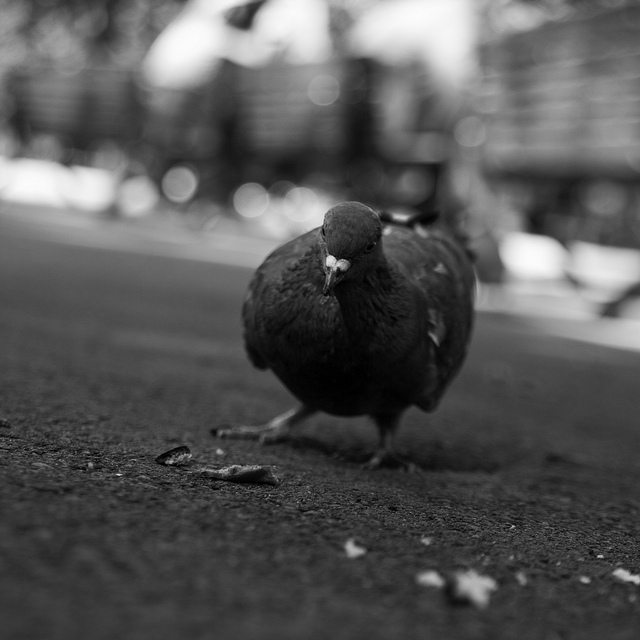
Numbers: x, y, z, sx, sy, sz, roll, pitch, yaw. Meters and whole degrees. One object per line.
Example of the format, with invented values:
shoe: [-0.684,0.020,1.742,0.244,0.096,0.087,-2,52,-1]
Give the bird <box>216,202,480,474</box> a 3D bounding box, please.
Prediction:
bird: [0.173,-0.068,2.763,0.725,0.704,1.235,7,24,18]
